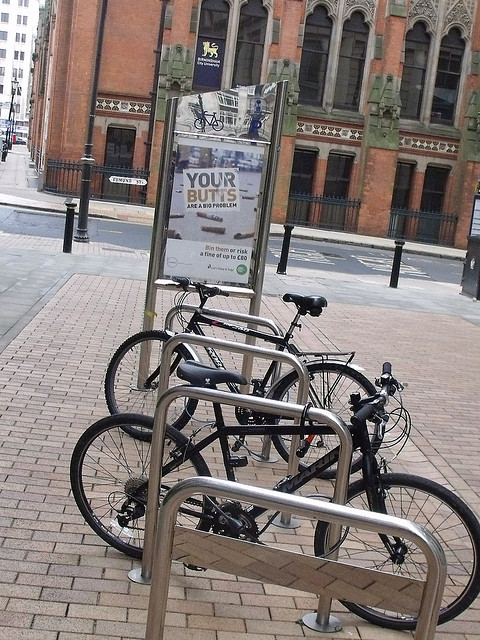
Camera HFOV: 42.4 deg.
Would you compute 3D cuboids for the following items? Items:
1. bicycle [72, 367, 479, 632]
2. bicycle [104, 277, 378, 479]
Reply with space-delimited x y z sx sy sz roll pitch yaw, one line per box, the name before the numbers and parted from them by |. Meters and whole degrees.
bicycle | 0.142 0.673 2.966 2.103 1.108 1.002 8 13 18
bicycle | 0.013 0.389 4.426 2.150 1.181 0.993 8 2 21
